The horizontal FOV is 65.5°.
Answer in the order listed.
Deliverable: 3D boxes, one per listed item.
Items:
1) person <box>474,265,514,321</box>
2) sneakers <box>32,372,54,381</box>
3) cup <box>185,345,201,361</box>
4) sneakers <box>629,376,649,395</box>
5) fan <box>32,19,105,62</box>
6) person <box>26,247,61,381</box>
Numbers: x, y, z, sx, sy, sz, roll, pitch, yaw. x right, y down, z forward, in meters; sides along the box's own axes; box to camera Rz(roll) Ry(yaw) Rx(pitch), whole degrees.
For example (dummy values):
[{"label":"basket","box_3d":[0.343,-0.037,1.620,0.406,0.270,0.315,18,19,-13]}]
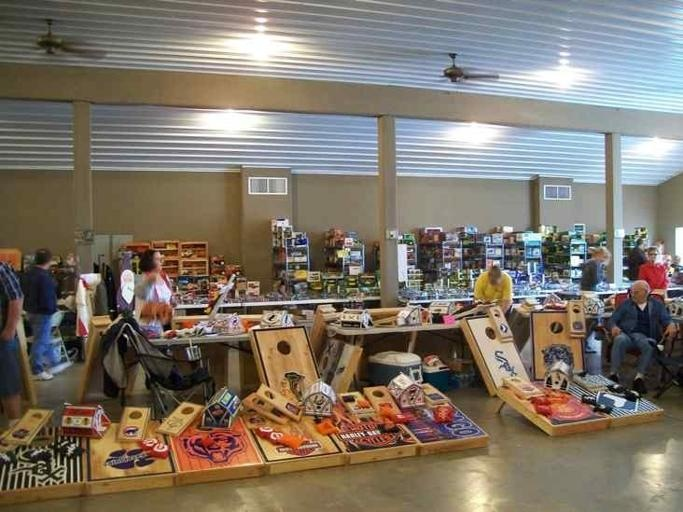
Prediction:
[{"label":"person","box_3d":[2.250,0.486,7.825,0.441,0.715,0.610,-4,3,-26]},{"label":"sneakers","box_3d":[-4.378,1.756,7.787,0.297,0.123,0.100,-1,6,-14]},{"label":"cup","box_3d":[-1.761,1.155,6.290,0.176,0.195,0.178,-3,-9,-1]},{"label":"sneakers","box_3d":[3.760,1.644,6.719,0.169,0.202,0.504,-2,-5,9]},{"label":"fan","box_3d":[-3.688,-2.974,7.190,0.770,0.397,0.458,-12,2,-25]},{"label":"person","box_3d":[-4.367,0.855,7.742,0.404,1.261,0.854,-4,3,-31]}]
